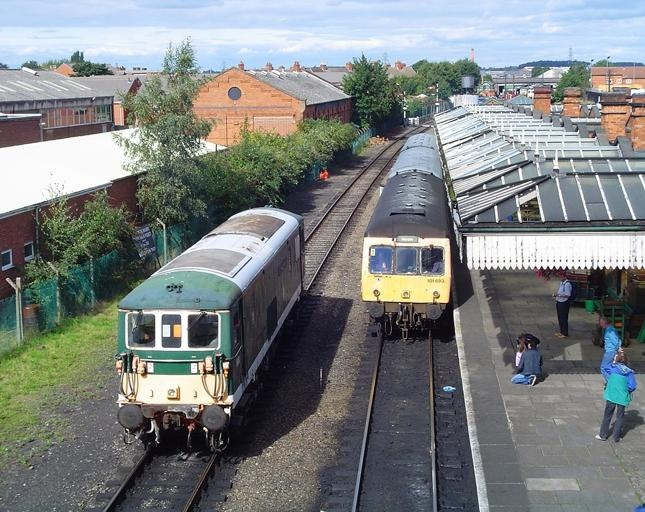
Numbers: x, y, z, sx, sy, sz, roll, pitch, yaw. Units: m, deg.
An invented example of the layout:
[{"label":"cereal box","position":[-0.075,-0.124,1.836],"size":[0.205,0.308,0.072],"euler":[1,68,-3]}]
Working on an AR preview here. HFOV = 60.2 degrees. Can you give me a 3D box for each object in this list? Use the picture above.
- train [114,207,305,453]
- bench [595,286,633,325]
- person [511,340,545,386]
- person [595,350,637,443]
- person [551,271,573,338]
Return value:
[{"label":"train","position":[-2.281,0.724,14.623],"size":[2.081,2.894,9.346],"euler":[3,18,5]},{"label":"bench","position":[8.083,1.412,15.823],"size":[0.500,0.895,1.909],"euler":[1,14,12]},{"label":"person","position":[4.914,2.576,13.346],"size":[0.612,1.635,0.533],"euler":[4,35,15]},{"label":"person","position":[5.794,2.670,10.931],"size":[0.585,1.842,0.993],"euler":[5,15,29]},{"label":"person","position":[6.933,1.413,16.067],"size":[0.444,1.680,1.188],"euler":[3,15,23]}]
